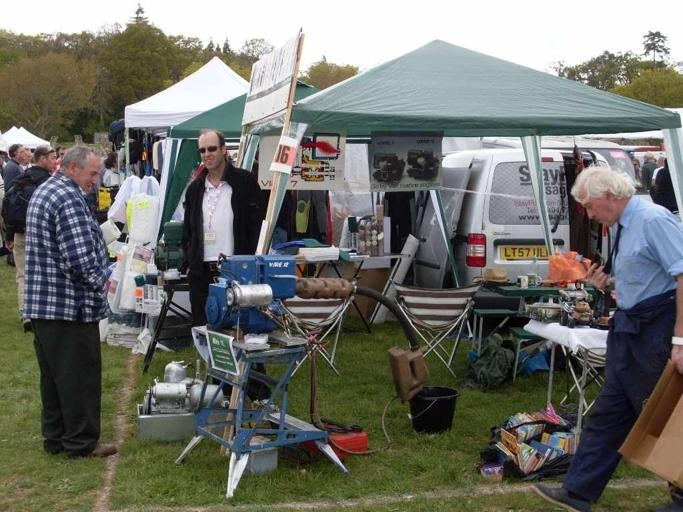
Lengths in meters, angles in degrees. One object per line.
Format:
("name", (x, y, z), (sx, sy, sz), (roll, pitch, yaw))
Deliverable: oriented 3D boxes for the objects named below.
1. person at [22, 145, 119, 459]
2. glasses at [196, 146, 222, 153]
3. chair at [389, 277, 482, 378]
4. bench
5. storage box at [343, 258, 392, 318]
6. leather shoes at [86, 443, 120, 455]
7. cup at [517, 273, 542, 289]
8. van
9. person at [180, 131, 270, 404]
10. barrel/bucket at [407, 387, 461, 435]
("person", (-2.041, 0.345, 5.910), (0.686, 2.376, 0.376), (2, 2, -21))
("glasses", (-1.123, -0.885, 6.498), (0.185, 0.069, 0.095), (4, 3, 18))
("chair", (1.019, 0.727, 8.327), (0.869, 0.951, 0.886), (0, 3, 14))
("bench", (1.633, 0.997, 7.759), (0.645, 0.347, 0.902), (-3, 9, -2))
("storage box", (0.304, 0.403, 9.794), (0.620, 0.877, 1.245), (3, 3, 3))
("leather shoes", (-1.832, 1.498, 6.006), (0.205, 0.096, 0.073), (-9, 10, -32))
("cup", (1.870, 0.251, 7.740), (0.210, 0.150, 0.136), (1, -1, -10))
("van", (1.778, -0.259, 10.441), (2.084, 1.883, 3.548), (1, 2, -11))
("person", (-1.032, -0.219, 6.635), (0.726, 1.655, 0.390), (3, 2, 2))
("barrel/bucket", (0.776, 1.337, 6.670), (0.462, 0.355, 0.480), (-1, 3, 0))
